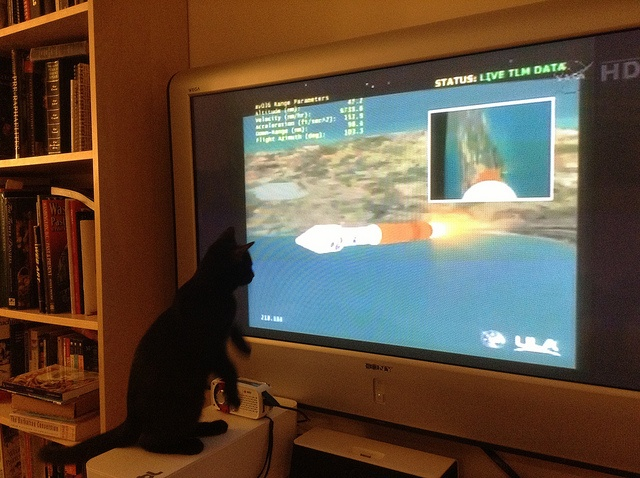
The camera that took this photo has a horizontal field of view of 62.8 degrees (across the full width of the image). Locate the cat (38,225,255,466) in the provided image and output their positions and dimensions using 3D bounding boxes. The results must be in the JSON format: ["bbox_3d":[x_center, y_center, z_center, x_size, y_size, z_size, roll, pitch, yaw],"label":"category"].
[{"bbox_3d":[-0.406,0.268,1.298,0.522,0.543,0.185,-8,9,-27],"label":"cat"}]
